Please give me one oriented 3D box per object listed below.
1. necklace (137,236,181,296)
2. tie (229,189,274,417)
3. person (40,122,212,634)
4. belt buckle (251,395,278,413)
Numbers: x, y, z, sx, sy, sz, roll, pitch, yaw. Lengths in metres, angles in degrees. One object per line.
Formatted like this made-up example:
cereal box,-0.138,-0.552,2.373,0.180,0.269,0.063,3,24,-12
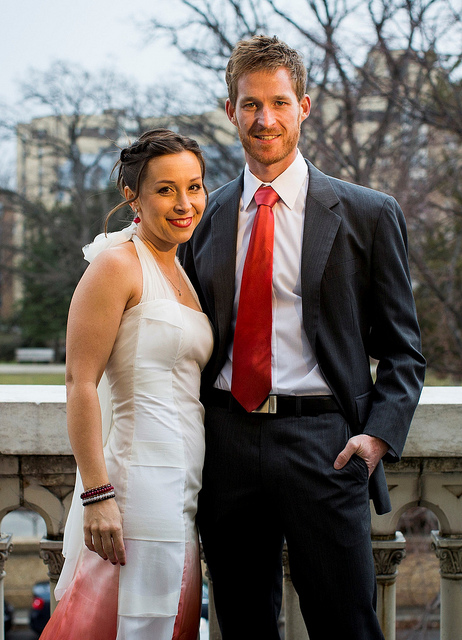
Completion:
necklace,-0.299,-0.223,4.915,0.016,0.316,0.048,-35,14,39
tie,0.093,-0.086,4.961,0.158,0.913,0.296,1,3,0
person,-0.396,0.234,4.888,0.633,2.025,0.593,1,3,-1
belt buckle,0.134,0.332,4.848,0.115,0.076,0.064,1,2,18
